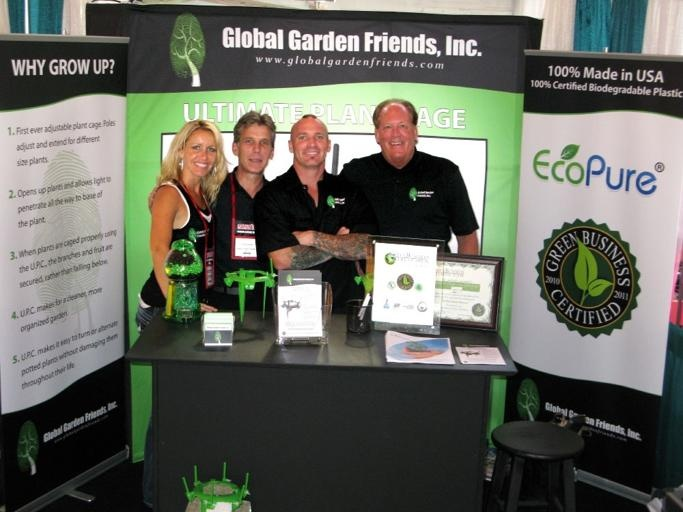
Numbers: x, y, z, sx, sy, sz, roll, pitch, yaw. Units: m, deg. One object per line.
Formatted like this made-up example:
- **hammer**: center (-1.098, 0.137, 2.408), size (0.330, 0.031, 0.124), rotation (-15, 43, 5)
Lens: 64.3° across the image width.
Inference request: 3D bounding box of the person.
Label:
- **person**: center (-0.234, -0.251, 2.918), size (1.152, 1.050, 0.388), rotation (-2, 6, 0)
